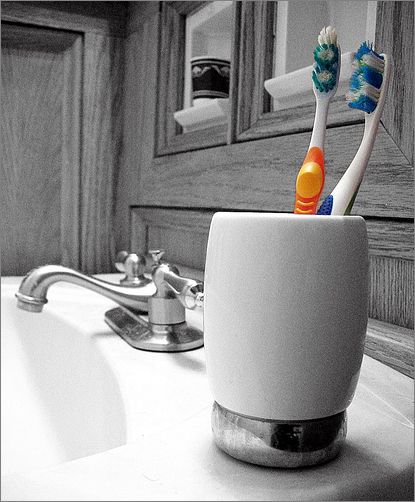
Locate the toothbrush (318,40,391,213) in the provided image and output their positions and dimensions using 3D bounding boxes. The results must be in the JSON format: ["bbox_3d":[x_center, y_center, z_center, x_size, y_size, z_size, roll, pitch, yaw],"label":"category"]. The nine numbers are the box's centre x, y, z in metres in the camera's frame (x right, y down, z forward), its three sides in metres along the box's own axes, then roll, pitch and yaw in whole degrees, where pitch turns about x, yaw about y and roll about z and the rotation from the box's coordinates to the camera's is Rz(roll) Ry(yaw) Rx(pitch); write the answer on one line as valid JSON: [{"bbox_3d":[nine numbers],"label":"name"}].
[{"bbox_3d":[0.080,-0.066,0.296,0.024,0.138,0.020,11,0,-40],"label":"toothbrush"}]

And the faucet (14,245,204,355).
[{"bbox_3d":[-0.100,0.047,0.495,0.171,0.082,0.195,-4,10,-25],"label":"faucet"}]
